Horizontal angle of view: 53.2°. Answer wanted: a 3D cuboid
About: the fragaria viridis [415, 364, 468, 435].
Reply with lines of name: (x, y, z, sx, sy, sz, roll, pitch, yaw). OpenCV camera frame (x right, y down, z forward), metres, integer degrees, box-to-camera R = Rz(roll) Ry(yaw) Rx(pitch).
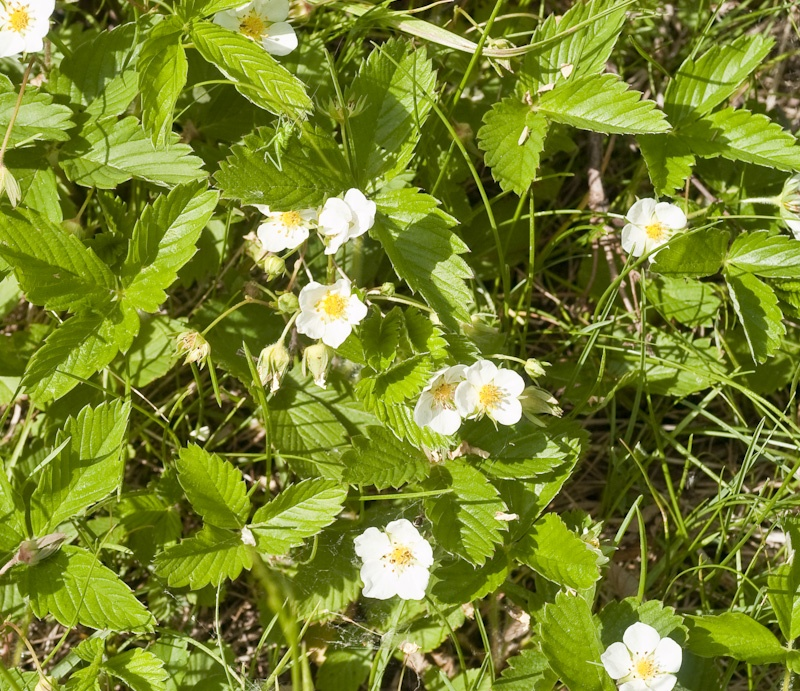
fragaria viridis: (0.134, 0.214, 2.820, 0.168, 0.235, 0.087, -36, 33, -14)
